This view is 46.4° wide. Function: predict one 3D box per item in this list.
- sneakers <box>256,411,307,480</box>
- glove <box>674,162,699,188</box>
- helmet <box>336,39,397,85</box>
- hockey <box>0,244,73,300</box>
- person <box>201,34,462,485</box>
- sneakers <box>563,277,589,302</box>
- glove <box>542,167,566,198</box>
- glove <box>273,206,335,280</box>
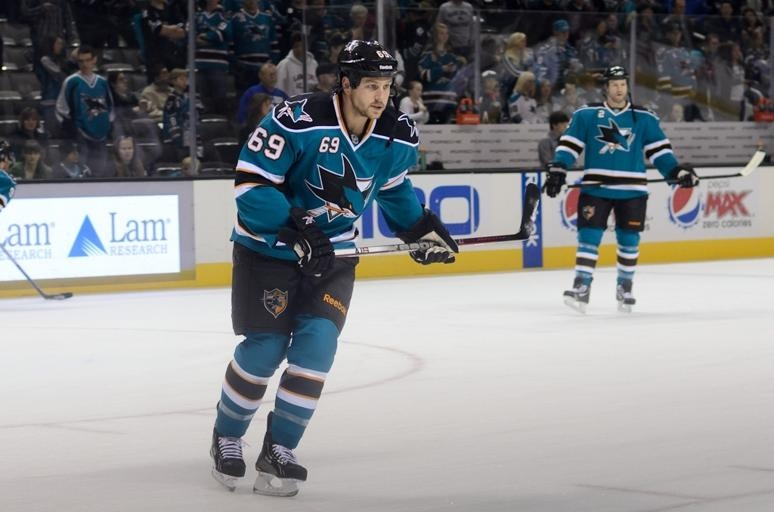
[{"bbox_3d":[-0.507,0.908,4.261,0.250,0.311,0.127,7,13,33],"label":"sneakers"},{"bbox_3d":[2.529,-0.670,7.676,0.203,0.185,0.188,3,11,18],"label":"glove"},{"bbox_3d":[-0.098,-0.900,4.221,0.237,0.150,0.201,7,9,40],"label":"helmet"},{"bbox_3d":[-3.253,0.145,8.423,0.604,0.585,0.528,-4,11,-22],"label":"hockey"},{"bbox_3d":[-0.319,0.036,4.358,1.104,2.108,0.576,-3,11,-13],"label":"person"},{"bbox_3d":[1.638,0.296,7.800,0.192,0.201,0.214,5,12,28],"label":"sneakers"},{"bbox_3d":[1.469,-0.599,7.735,0.096,0.242,0.256,26,-8,-37],"label":"glove"},{"bbox_3d":[-0.371,-0.071,4.180,0.149,0.235,0.320,-37,38,-12],"label":"glove"}]
